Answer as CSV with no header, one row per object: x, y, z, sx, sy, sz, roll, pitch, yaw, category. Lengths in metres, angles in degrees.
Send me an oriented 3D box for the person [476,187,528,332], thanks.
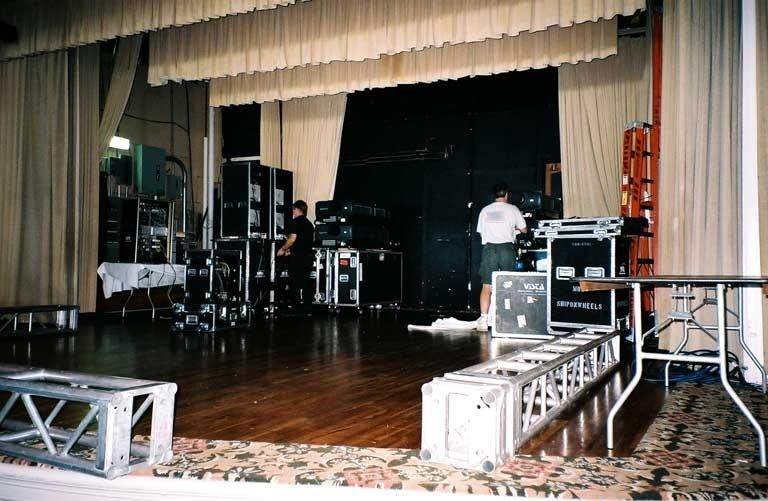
1.510,0.120,8.543,0.593,1.889,0.453,1,9,7,person

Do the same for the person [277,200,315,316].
-1.363,0.097,10.345,0.335,1.733,0.617,5,11,29,person

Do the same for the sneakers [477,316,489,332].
1.300,0.953,8.713,0.151,0.175,0.411,0,-8,8,sneakers
